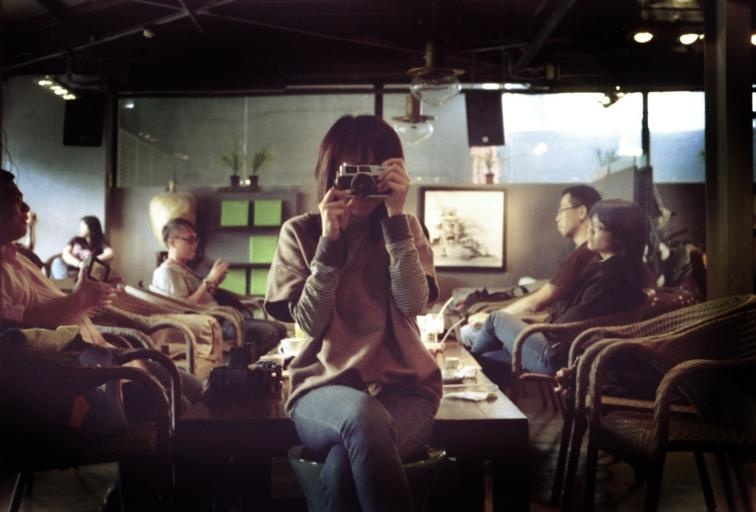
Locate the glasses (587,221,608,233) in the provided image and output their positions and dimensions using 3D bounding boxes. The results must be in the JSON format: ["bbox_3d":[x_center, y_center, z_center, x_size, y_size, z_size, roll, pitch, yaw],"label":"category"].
[{"bbox_3d":[1.691,-0.224,5.294,0.085,0.045,0.113,4,-7,5],"label":"glasses"}]

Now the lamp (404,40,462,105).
[{"bbox_3d":[0.402,-1.309,5.104,0.448,0.484,0.447,-1,-1,-2],"label":"lamp"}]

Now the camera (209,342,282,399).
[{"bbox_3d":[-0.713,0.542,3.748,0.472,0.348,0.258,-1,6,-7],"label":"camera"}]

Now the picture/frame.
[{"bbox_3d":[0.846,-0.261,6.635,0.857,0.823,0.067,1,1,-1],"label":"picture/frame"}]

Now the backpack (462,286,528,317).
[{"bbox_3d":[1.044,0.392,6.256,0.385,0.134,0.314,-13,-4,7],"label":"backpack"}]

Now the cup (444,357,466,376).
[{"bbox_3d":[0.454,0.673,4.175,0.097,0.091,0.097,0,0,0],"label":"cup"}]

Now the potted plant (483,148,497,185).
[{"bbox_3d":[1.122,-0.899,6.923,0.105,0.313,0.111,2,1,12],"label":"potted plant"}]

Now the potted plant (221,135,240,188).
[{"bbox_3d":[-1.511,-0.954,7.110,0.196,0.339,0.110,1,1,-14],"label":"potted plant"}]
